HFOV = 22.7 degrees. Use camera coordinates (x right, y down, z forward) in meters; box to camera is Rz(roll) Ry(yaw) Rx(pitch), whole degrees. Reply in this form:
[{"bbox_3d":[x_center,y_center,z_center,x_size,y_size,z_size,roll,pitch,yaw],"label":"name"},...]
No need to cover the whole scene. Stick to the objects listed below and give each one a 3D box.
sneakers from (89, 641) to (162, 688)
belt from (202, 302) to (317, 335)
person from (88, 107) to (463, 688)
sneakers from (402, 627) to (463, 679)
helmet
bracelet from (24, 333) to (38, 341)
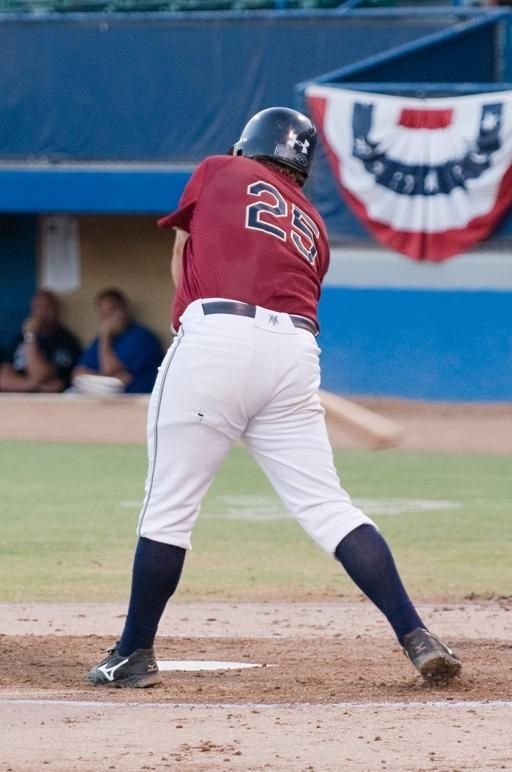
[{"bbox_3d":[-0.301,0.672,3.026,0.177,0.074,0.073,0,-6,15],"label":"sneakers"},{"bbox_3d":[0.032,-0.155,2.934,0.309,0.090,0.092,-4,9,-27],"label":"belt"},{"bbox_3d":[0.034,0.022,3.018,0.831,1.358,0.464,1,9,7],"label":"person"},{"bbox_3d":[0.396,0.608,2.923,0.167,0.091,0.073,40,24,-44],"label":"sneakers"},{"bbox_3d":[0.055,-0.594,3.161,0.163,0.148,0.190,24,36,-5],"label":"helmet"},{"bbox_3d":[-1.219,-0.265,6.910,0.055,0.035,0.053,-8,12,-30],"label":"bracelet"}]
